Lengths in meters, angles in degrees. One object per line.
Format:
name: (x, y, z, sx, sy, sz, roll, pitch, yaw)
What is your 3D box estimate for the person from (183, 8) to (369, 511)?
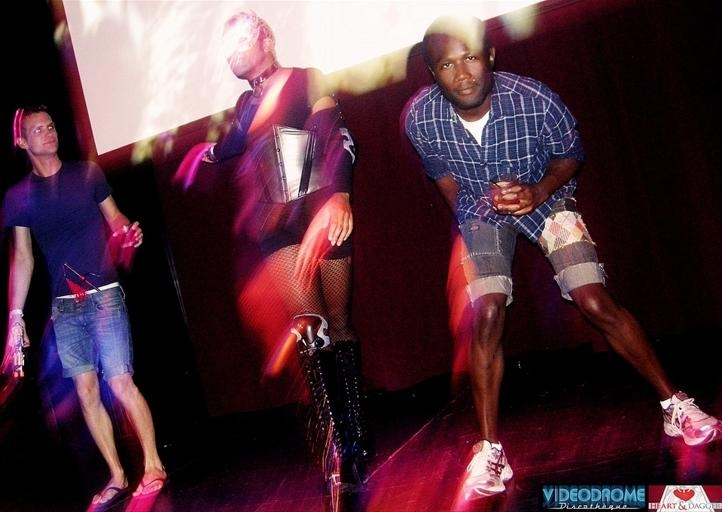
person: (-0.267, -0.105, 2.522, 0.650, 2.272, 0.628, -12, 4, 4)

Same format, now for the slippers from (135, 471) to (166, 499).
slippers: (-1.211, 1.322, 2.904, 0.160, 0.091, 0.064, -36, -16, -30)

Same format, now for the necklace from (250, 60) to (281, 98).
necklace: (-0.511, -0.921, 2.696, 0.184, 0.109, 0.137, -44, -6, -8)

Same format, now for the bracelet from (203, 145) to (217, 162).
bracelet: (-0.922, -0.618, 3.062, 0.070, 0.081, 0.191, 9, 18, -14)

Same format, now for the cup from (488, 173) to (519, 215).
cup: (0.634, -0.267, 2.209, 0.145, 0.160, 0.150, -19, 33, 13)

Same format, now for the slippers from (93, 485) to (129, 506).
slippers: (-1.440, 1.359, 2.867, 0.192, 0.070, 0.144, -15, 4, -30)

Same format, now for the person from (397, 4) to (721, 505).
person: (0.763, -0.148, 2.375, 1.058, 1.765, 0.777, -12, 4, 5)

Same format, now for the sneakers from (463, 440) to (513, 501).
sneakers: (0.531, 0.923, 2.155, 0.168, 0.230, 0.091, 21, -36, -7)
